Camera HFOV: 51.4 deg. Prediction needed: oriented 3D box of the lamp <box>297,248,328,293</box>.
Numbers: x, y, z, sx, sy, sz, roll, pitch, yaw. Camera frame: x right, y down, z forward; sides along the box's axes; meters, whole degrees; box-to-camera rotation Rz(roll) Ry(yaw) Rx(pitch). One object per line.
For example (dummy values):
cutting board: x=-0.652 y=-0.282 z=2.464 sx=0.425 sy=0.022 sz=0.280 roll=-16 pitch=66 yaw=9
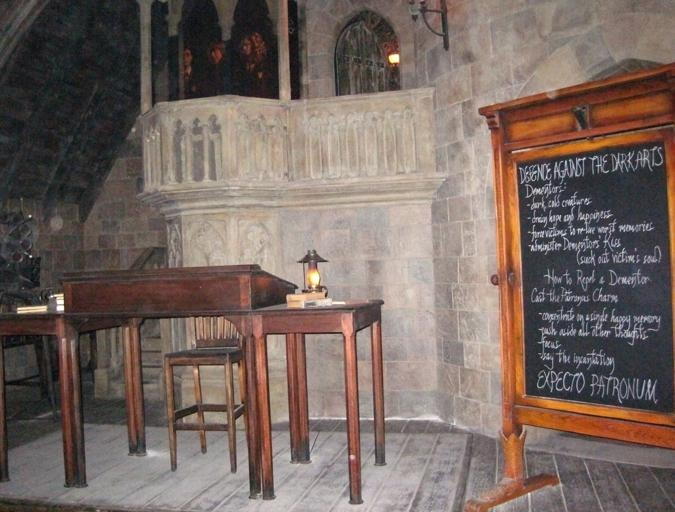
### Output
lamp: x=-0.218 y=0.129 z=6.271 sx=0.337 sy=0.382 sz=0.344 roll=-2 pitch=4 yaw=-28
